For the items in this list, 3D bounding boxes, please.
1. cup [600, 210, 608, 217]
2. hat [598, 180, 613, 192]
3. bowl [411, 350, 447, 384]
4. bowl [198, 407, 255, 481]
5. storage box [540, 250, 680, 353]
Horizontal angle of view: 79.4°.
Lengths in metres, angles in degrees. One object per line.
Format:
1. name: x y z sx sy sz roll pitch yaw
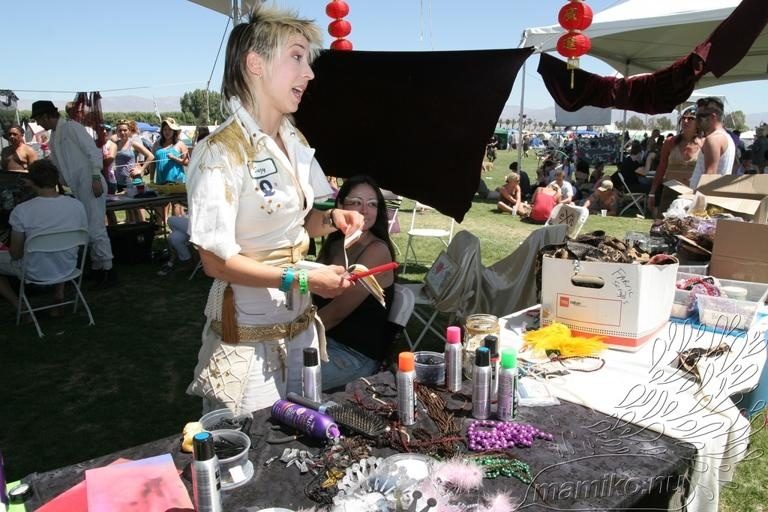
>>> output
1. cup: 4.934 -0.980 10.450 0.152 0.155 0.133 0 13 -9
2. hat: 5.044 -1.579 10.503 0.294 0.159 0.218 5 24 -33
3. bowl: 0.213 0.526 2.208 0.140 0.075 0.147 2 6 0
4. bowl: -0.589 0.722 1.794 0.179 0.102 0.237 -4 12 -24
5. storage box: 1.205 0.184 2.486 0.548 0.361 0.560 0 5 -14
